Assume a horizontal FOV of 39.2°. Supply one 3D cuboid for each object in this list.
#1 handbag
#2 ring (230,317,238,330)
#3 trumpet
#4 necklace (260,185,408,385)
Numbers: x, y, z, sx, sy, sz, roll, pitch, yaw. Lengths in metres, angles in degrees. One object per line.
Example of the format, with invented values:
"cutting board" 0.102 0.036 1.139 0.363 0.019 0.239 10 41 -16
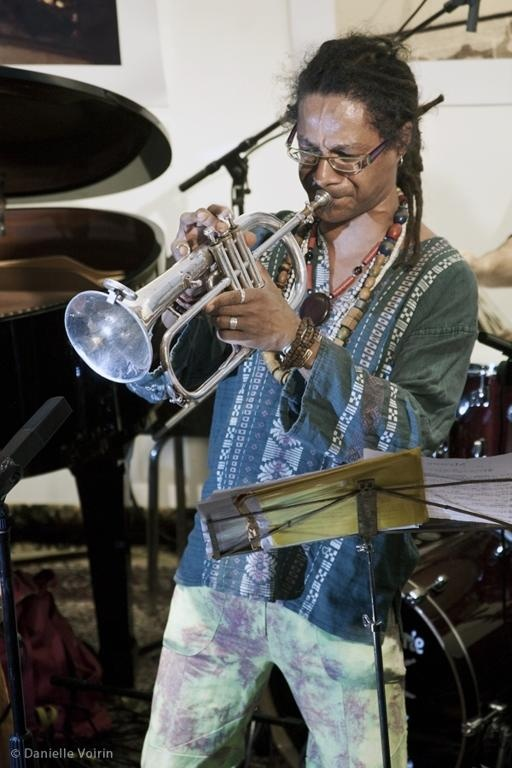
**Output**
"handbag" -0.575 0.822 2.114 0.263 0.467 0.287 9 13 29
"ring" -0.033 -0.089 1.052 0.015 0.015 0.016 1 2 0
"trumpet" -0.051 -0.169 1.245 0.608 0.310 0.203 -37 18 -24
"necklace" 0.148 -0.193 1.329 0.193 0.443 0.099 19 -20 25
